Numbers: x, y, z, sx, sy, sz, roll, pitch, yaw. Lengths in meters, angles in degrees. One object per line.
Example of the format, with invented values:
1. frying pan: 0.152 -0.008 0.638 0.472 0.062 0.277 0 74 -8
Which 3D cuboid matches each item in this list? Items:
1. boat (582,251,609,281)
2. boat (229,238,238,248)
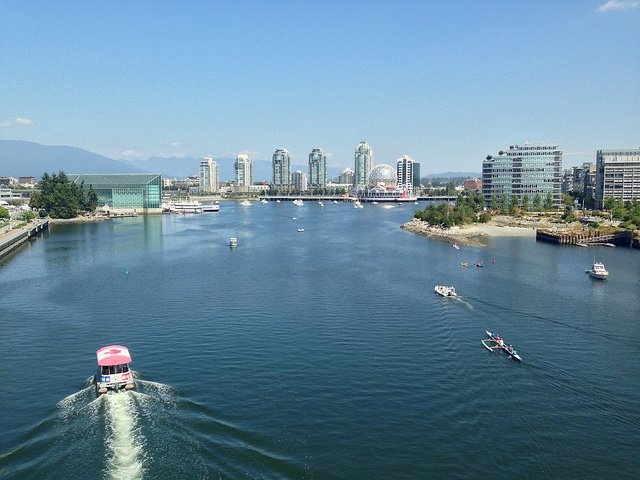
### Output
1. boat: 45.613 5.017 97.357 2.517 2.552 6.620 -1 3 14
2. boat: -18.784 0.787 128.654 1.638 1.653 2.784 -2 11 -12
